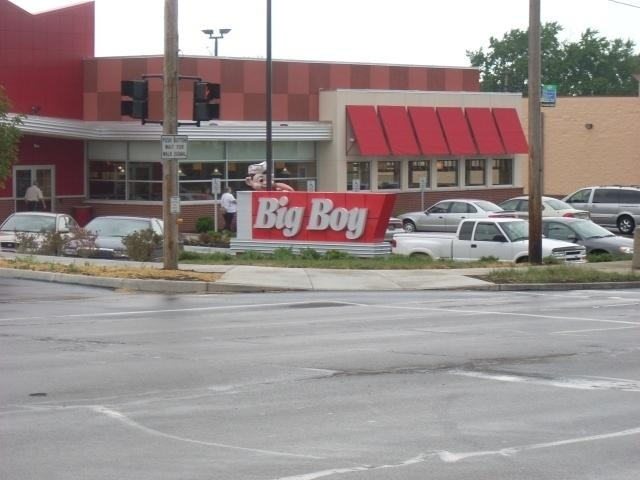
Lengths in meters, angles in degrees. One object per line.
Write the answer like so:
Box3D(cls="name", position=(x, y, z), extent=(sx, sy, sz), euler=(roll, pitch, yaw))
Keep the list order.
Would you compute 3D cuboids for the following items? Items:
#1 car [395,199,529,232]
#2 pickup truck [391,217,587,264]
Box3D(cls="car", position=(5.975, -0.828, 50.687), extent=(5.295, 1.253, 3.274), euler=(-3, 1, -34))
Box3D(cls="pickup truck", position=(4.863, 0.093, 39.948), extent=(5.361, 1.260, 1.384), euler=(0, 0, 22))
